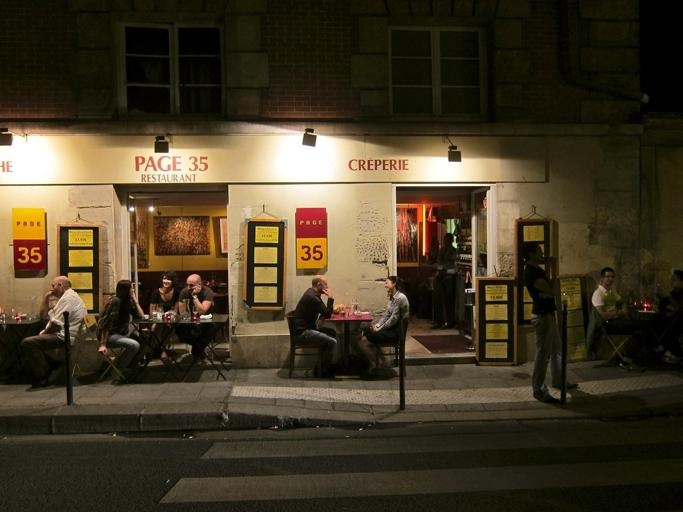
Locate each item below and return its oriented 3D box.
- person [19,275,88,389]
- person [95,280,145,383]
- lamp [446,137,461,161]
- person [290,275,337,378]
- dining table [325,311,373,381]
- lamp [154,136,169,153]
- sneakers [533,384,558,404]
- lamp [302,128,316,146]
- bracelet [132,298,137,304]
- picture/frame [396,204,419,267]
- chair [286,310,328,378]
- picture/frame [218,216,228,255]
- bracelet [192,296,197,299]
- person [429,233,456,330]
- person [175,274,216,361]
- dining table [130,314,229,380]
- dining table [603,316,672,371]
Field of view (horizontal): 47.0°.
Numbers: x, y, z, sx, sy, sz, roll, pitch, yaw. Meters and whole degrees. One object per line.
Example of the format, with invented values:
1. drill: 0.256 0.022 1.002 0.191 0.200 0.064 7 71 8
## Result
1. person: -4.976 1.283 13.572 1.073 1.832 0.874 -5 14 -17
2. person: -3.866 1.300 13.758 0.973 1.739 0.737 -12 18 -38
3. lamp: 2.160 -2.025 14.882 0.274 0.471 0.203 1 14 5
4. person: -0.408 1.226 14.060 0.847 1.740 0.759 -12 18 -40
5. dining table: 0.179 1.556 14.385 0.954 1.201 1.015 0 7 0
6. lamp: -3.322 -2.076 14.444 0.237 0.362 0.191 2 15 4
7. sneakers: 3.313 2.245 12.719 0.463 0.291 0.194 0 2 -1
8. lamp: -0.594 -2.236 14.658 0.278 0.350 0.187 -1 14 -3
9. bracelet: -3.746 0.796 14.165 0.048 0.072 0.221 8 7 -15
10. picture/frame: 1.698 -0.557 19.758 0.539 1.417 0.575 1 14 5
11. chair: -0.740 1.560 14.651 0.941 1.499 1.100 0 1 1
12. picture/frame: -2.834 -0.516 18.720 0.161 0.832 0.226 1 14 6
13. bracelet: -2.726 0.743 14.578 0.050 0.050 0.014 20 21 -16
14. person: 2.275 0.554 17.181 0.576 2.129 0.536 5 14 20
15. person: -2.755 0.936 14.947 0.800 1.125 0.671 0 6 25
16. dining table: -2.999 1.598 14.417 1.741 1.198 1.053 0 9 0
17. dining table: 5.488 1.524 14.643 0.968 1.239 0.969 5 -19 -24
